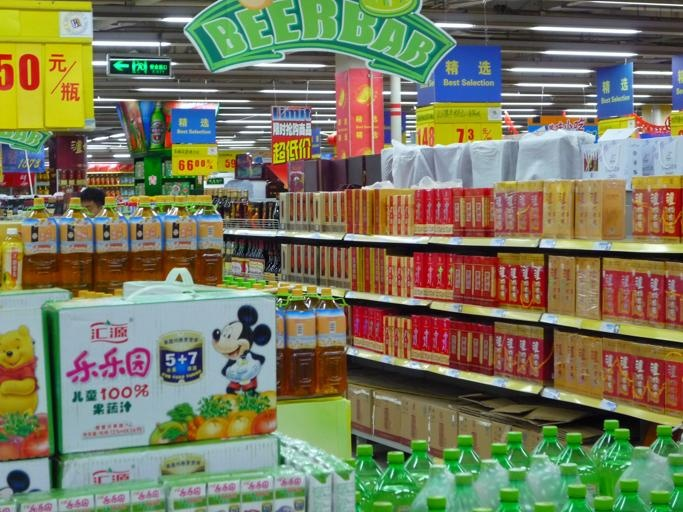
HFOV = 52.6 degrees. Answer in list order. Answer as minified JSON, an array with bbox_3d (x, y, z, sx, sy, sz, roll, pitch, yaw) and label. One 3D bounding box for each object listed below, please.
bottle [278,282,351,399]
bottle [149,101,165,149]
[{"bbox_3d":[-0.132,0.384,3.391,0.388,0.767,0.435,-1,3,-10],"label":"bottle"},{"bbox_3d":[-3.427,-2.399,12.846,0.290,0.841,0.165,-3,7,-11],"label":"bottle"}]
